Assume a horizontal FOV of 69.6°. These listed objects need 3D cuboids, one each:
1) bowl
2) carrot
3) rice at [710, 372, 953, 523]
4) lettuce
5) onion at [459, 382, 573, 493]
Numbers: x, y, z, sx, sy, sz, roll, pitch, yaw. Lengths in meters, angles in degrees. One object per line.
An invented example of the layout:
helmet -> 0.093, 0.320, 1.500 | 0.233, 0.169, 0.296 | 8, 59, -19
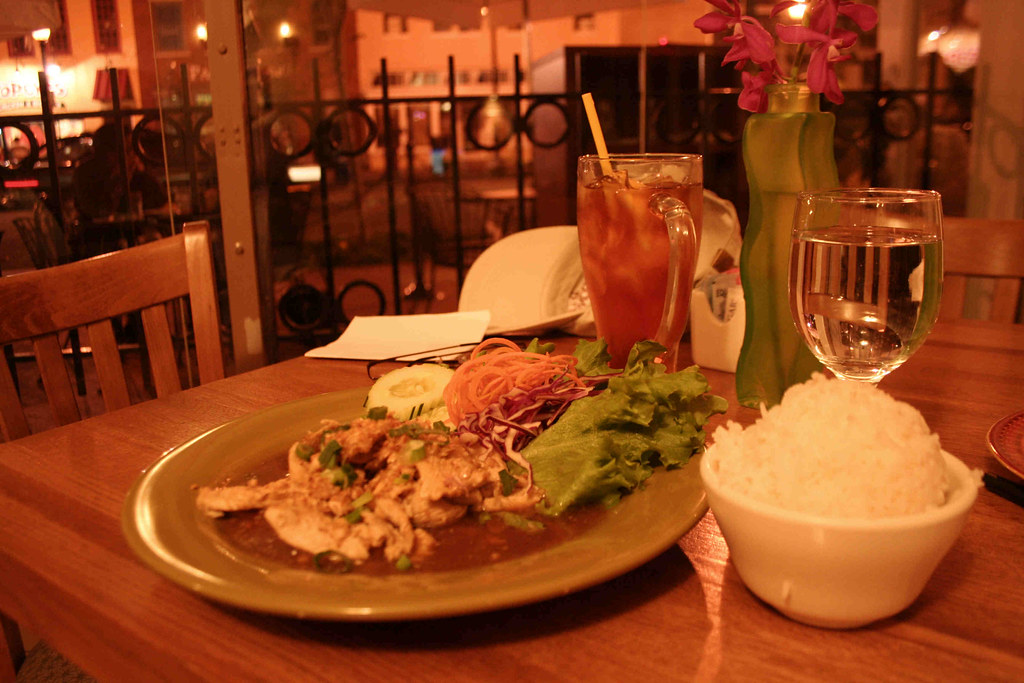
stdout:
bowl -> 0.329, 0.212, 0.794 | 0.266, 0.145, 0.267 | -5, 8, 1
carrot -> -0.011, 0.041, 1.061 | 0.141, 0.078, 0.119 | -7, 6, -17
rice -> 0.302, 0.082, 0.659 | 0.135, 0.055, 0.154 | 0, 7, -4
lettuce -> 0.132, 0.104, 0.896 | 0.216, 0.072, 0.200 | -21, 30, -19
onion -> 0.009, 0.106, 0.940 | 0.121, 0.123, 0.045 | 3, 13, 3
